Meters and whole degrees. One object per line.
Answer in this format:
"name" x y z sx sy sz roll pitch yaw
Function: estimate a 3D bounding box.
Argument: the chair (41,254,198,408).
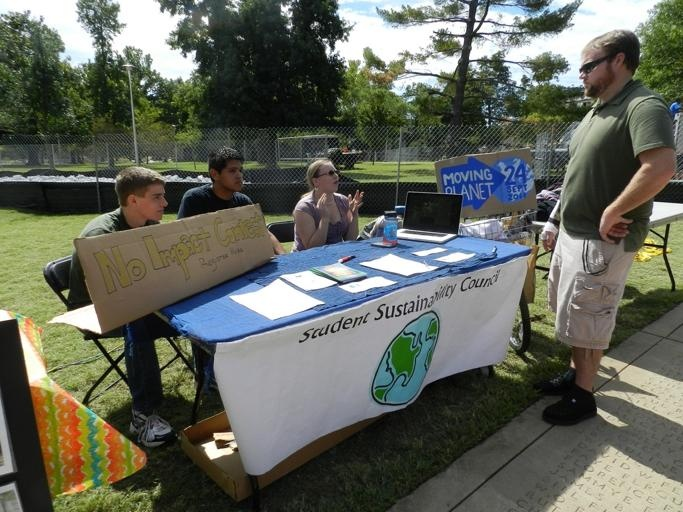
"chair" -1.803 0.642 3.888 0.898 1.160 0.914 3 7 5

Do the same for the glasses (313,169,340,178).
"glasses" -0.104 -0.766 4.554 0.293 0.083 0.143 -13 19 -39

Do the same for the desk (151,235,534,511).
"desk" 0.136 0.553 3.683 2.739 1.051 1.153 -11 18 -34

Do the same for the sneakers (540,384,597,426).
"sneakers" 1.685 1.098 3.560 0.444 0.230 0.210 -4 5 -16

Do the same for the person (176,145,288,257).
"person" -1.218 -0.563 4.738 1.050 1.014 0.805 8 16 41

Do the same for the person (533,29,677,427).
"person" 1.854 -0.171 3.440 0.588 2.677 0.734 1 15 8

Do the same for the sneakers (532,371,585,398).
"sneakers" 1.689 1.013 3.808 0.358 0.163 0.142 0 4 9

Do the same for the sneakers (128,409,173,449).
"sneakers" -1.347 1.205 3.442 0.425 0.203 0.227 5 4 38
